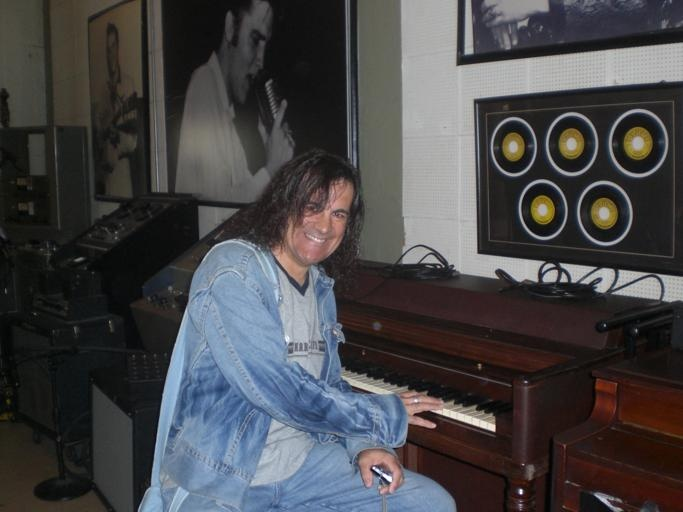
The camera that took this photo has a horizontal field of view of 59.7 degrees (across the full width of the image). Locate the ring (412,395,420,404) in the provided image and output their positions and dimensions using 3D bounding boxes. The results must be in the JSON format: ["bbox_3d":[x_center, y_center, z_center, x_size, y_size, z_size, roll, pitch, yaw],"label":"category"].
[{"bbox_3d":[0.274,0.526,2.190,0.016,0.008,0.023,3,18,26],"label":"ring"}]

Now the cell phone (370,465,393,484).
[{"bbox_3d":[0.134,0.725,1.988,0.032,0.045,0.087,-5,8,-40],"label":"cell phone"}]
